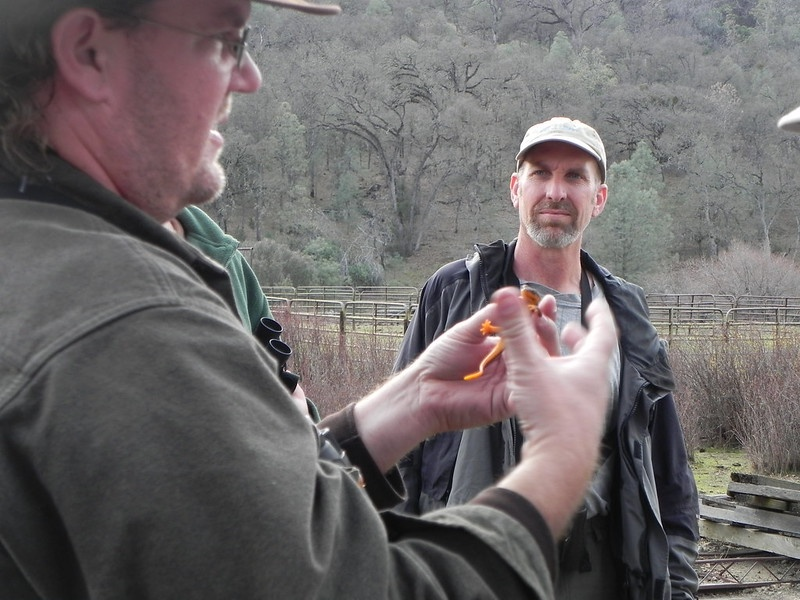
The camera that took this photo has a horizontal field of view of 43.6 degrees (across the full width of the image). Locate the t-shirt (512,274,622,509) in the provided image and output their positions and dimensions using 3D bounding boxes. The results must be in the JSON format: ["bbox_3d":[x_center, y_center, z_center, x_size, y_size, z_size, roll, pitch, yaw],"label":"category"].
[{"bbox_3d":[0.661,0.360,3.807,0.442,0.976,0.491,10,-9,-41],"label":"t-shirt"}]

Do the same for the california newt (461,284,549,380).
[{"bbox_3d":[0.260,0.092,2.531,0.140,0.301,0.078,39,-13,30],"label":"california newt"}]
